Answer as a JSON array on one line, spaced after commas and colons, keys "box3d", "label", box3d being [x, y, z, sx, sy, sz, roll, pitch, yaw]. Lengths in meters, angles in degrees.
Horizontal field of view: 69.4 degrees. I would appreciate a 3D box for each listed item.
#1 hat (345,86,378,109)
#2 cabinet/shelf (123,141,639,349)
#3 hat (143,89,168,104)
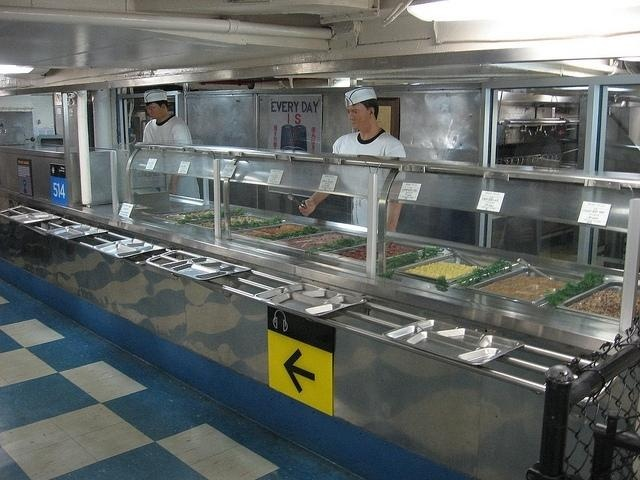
[{"box3d": [0.324, -1.114, 3.625, 0.185, 0.096, 0.167, -9, 15, 24], "label": "hat"}, {"box3d": [0.098, -0.142, 2.933, 3.265, 0.792, 0.402, 12, 19, 39], "label": "cabinet/shelf"}, {"box3d": [-1.762, -1.546, 5.050, 0.312, 0.160, 0.239, -6, 18, -16], "label": "hat"}]
